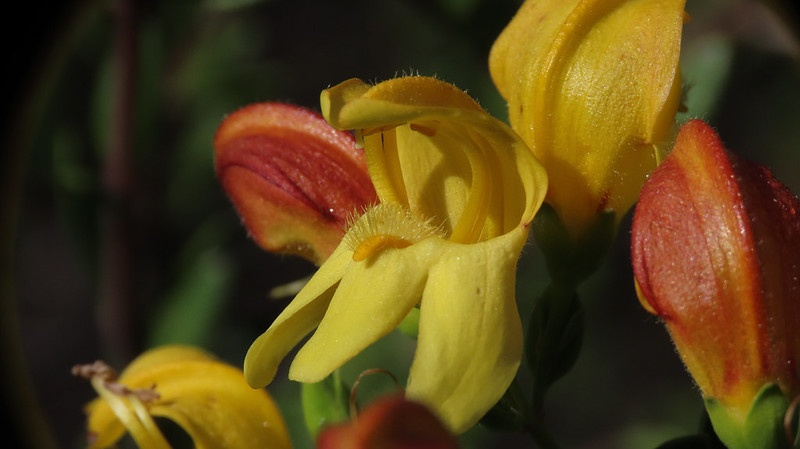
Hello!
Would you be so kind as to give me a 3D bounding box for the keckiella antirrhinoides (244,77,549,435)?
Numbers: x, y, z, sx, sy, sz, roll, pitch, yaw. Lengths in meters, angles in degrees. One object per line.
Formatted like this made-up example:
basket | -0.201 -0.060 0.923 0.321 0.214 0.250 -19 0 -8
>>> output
keckiella antirrhinoides | -0.007 0.033 1.338 0.405 0.455 0.382 7 33 24
